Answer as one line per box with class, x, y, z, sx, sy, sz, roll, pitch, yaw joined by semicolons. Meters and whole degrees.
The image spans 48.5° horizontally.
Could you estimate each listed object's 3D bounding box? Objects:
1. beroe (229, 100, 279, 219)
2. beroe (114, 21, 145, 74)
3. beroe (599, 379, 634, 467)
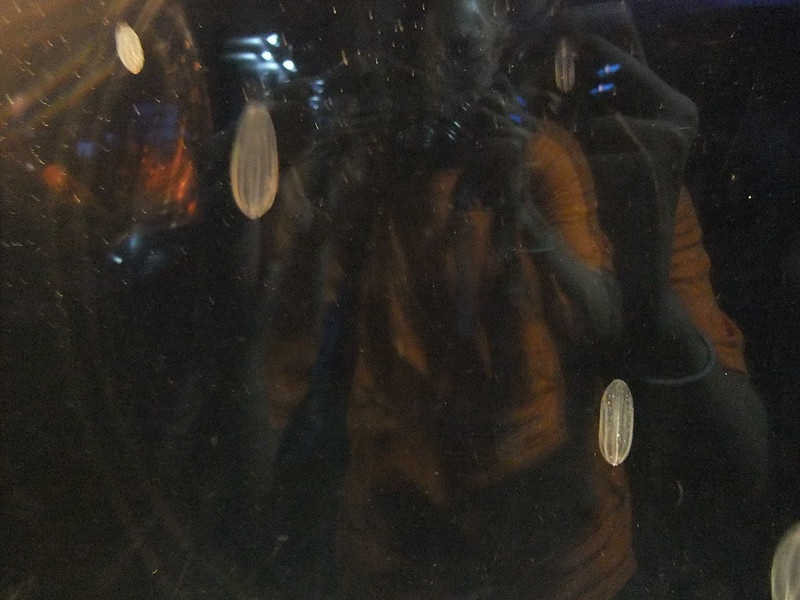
beroe;-0.420;-0.392;2.506;0.160;0.275;0.110;-20;37;-15
beroe;-0.750;-0.692;2.438;0.072;0.117;0.060;-11;35;-2
beroe;0.629;0.352;2.584;0.094;0.261;0.080;3;0;13
